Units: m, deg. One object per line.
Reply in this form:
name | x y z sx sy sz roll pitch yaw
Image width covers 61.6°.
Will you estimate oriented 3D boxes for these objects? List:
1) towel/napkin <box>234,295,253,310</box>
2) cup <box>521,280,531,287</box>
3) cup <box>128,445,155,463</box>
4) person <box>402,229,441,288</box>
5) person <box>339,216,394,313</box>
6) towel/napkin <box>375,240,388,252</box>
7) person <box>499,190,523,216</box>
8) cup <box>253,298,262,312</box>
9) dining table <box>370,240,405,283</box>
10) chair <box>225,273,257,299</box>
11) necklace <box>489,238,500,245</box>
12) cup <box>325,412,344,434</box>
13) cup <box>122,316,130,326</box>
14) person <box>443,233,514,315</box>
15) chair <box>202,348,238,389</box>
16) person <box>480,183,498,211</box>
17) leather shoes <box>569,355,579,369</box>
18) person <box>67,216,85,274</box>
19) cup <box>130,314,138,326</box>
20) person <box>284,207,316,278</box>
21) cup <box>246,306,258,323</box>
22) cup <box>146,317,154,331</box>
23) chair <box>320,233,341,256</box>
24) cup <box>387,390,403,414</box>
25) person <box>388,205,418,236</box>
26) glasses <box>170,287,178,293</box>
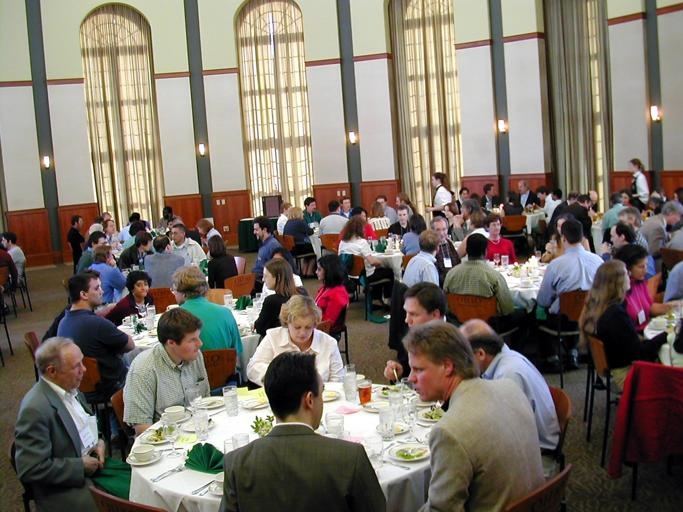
towel/napkin | -1.097 0.498 6.445 0.136 0.071 0.155 -3 19 15
cup | 2.073 0.316 6.447 0.062 0.060 0.071 0 8 15
cup | -1.159 1.135 3.320 0.097 0.060 0.089 -6 12 1
person | 0.927 0.036 6.810 0.432 0.617 0.757 -4 5 25
person | 0.346 0.047 8.725 0.927 1.700 1.030 -6 10 -23
towel/napkin | 0.645 -0.139 9.268 0.182 0.261 0.202 1 0 -15
person | 3.572 -1.095 12.009 0.413 0.480 0.942 -5 5 19
cup | -0.917 0.534 6.206 0.101 0.173 0.115 -2 8 -6
dining table | 0.758 0.049 8.994 0.440 0.366 0.446 0 7 13
chair | -1.350 0.394 7.659 0.328 0.515 0.292 -10 17 -44
necklace | 2.110 -0.194 7.883 0.086 0.083 0.097 -1 4 30
cup | -0.038 0.979 3.367 0.092 0.115 0.091 -2 3 0
cup | -2.287 0.706 6.101 0.061 0.097 0.094 0 -3 -6
person | 1.423 0.221 6.043 0.691 0.921 0.255 -5 4 14
chair | -1.004 0.879 4.774 0.236 0.485 0.287 -1 15 -17
person | 3.326 -1.333 12.899 0.346 0.569 1.208 -4 5 16
leather shoes | 2.640 1.192 6.501 0.079 0.131 0.270 -2 9 18
person | -5.988 -0.181 13.092 0.383 1.493 0.384 -6 24 -27
cup | -2.184 0.677 6.021 0.065 0.155 0.074 0 9 -4
person | -0.752 -0.284 11.444 0.663 1.514 0.539 -15 12 -37
cup | -0.926 0.618 6.045 0.118 0.171 0.134 -3 0 18
cup | -2.001 0.711 5.986 0.100 0.143 0.114 -2 3 1
chair | -0.230 -0.124 10.380 0.367 0.607 0.387 2 10 11
cup | 0.337 0.903 3.550 0.100 0.204 0.110 0 0 0
person | 1.087 -0.627 10.327 0.649 0.813 0.411 1 1 1
glasses | -1.759 0.362 5.999 0.108 0.039 0.127 7 3 14
